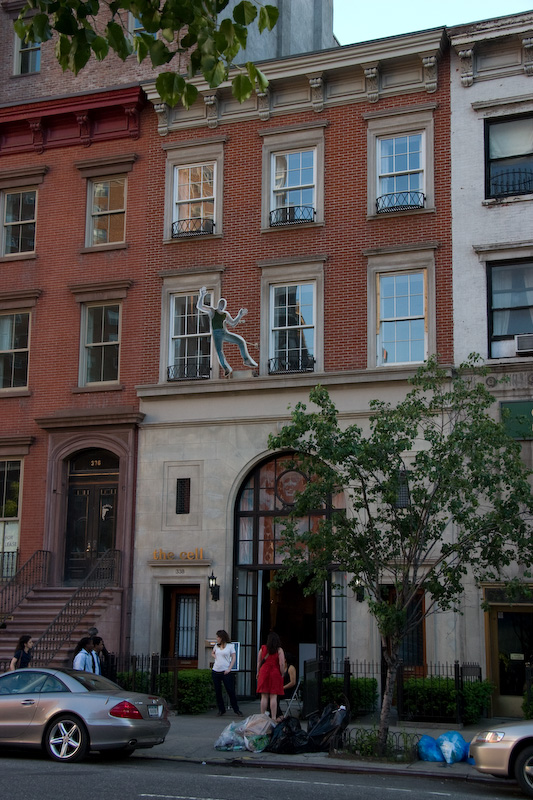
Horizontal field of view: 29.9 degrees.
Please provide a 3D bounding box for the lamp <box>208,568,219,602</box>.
[{"bbox_3d":[-1.109,3.951,20.927,0.199,0.567,0.211,0,-11,-4],"label":"lamp"}]

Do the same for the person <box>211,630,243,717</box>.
[{"bbox_3d":[-0.730,4.928,17.865,0.492,1.566,1.366,-1,-11,-3],"label":"person"}]

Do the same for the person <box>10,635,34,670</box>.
[{"bbox_3d":[-3.760,3.885,15.288,0.269,0.500,1.773,2,-11,-14],"label":"person"}]
